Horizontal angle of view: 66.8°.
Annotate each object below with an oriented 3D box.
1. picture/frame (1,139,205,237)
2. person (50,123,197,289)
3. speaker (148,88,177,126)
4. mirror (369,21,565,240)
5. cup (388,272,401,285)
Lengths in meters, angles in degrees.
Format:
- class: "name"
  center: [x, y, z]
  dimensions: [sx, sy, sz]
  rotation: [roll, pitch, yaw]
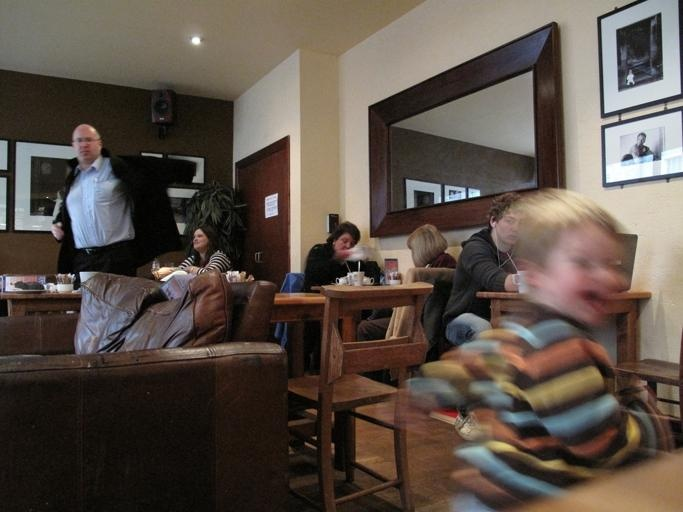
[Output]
- class: "picture/frame"
  center: [-2.333, -0.632, 4.792]
  dimensions: [1.206, 0.677, 0.024]
  rotation: [2, -1, -27]
- class: "person"
  center: [-1.758, -0.418, 4.133]
  dimensions: [0.969, 1.137, 0.505]
  rotation: [-2, 3, -29]
- class: "speaker"
  center: [-2.098, -1.770, 6.113]
  dimensions: [0.264, 0.355, 0.219]
  rotation: [1, 12, 3]
- class: "mirror"
  center: [0.859, -0.823, 4.029]
  dimensions: [0.125, 1.266, 1.941]
  rotation: [2, -2, -33]
- class: "cup"
  center: [0.368, 0.151, 3.542]
  dimensions: [0.081, 0.080, 0.082]
  rotation: [2, 0, 0]
